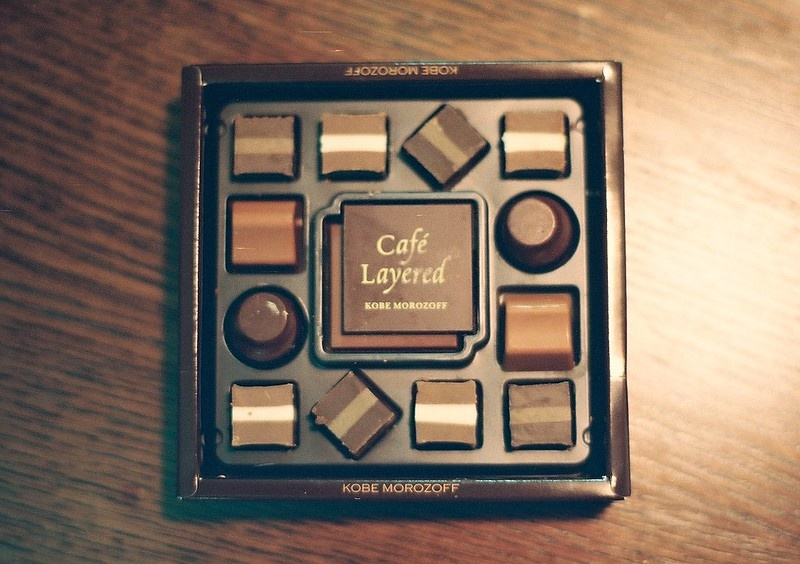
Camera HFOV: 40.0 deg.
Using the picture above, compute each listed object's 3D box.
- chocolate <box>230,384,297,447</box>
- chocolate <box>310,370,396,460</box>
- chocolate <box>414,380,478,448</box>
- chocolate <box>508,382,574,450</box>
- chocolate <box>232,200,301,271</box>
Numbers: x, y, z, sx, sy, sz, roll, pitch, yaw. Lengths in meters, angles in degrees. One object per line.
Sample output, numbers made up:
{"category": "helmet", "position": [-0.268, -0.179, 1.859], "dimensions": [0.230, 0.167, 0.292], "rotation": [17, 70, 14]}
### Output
{"category": "chocolate", "position": [-0.251, 0.239, 1.992], "dimensions": [0.113, 0.012, 0.110], "rotation": [0, 86, 1]}
{"category": "chocolate", "position": [-0.086, 0.240, 1.995], "dimensions": [0.127, 0.023, 0.121], "rotation": [44, 88, 4]}
{"category": "chocolate", "position": [0.081, 0.230, 1.937], "dimensions": [0.126, 0.033, 0.114], "rotation": [-1, 87, 2]}
{"category": "chocolate", "position": [0.254, 0.240, 1.987], "dimensions": [0.116, 0.013, 0.118], "rotation": [-2, 86, 1]}
{"category": "chocolate", "position": [-0.252, -0.088, 2.011], "dimensions": [0.147, 0.033, 0.124], "rotation": [0, 92, 0]}
